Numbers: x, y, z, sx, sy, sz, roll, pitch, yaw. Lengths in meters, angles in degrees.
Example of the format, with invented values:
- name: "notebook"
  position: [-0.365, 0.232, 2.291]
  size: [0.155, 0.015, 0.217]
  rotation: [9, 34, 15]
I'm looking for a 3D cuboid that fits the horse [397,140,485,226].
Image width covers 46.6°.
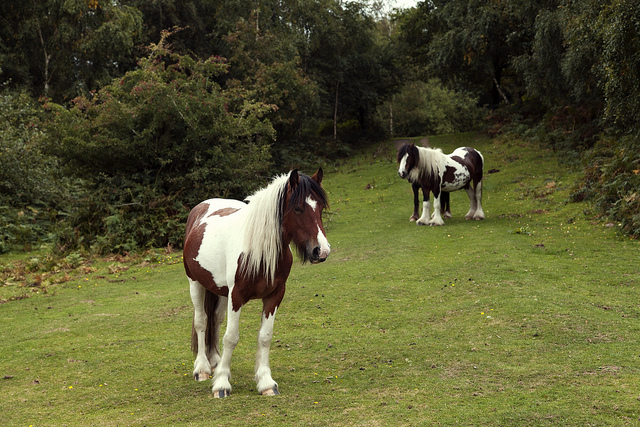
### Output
- name: "horse"
  position: [5.911, -1.372, 35.202]
  size: [5.321, 3.938, 1.658]
  rotation: [-3, 4, -33]
